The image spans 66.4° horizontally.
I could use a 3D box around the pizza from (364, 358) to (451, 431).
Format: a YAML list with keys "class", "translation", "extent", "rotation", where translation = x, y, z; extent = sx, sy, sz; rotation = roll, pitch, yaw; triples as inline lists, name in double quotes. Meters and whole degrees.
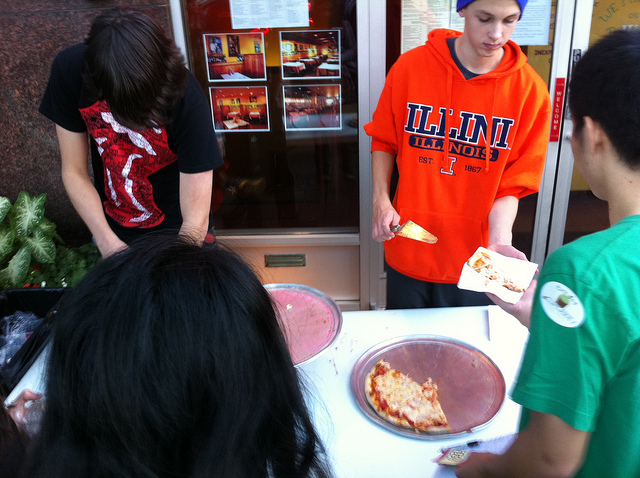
- class: "pizza"
  translation: [0.274, 0.514, 1.591]
  extent: [0.249, 0.028, 0.247]
  rotation: [0, 28, 2]

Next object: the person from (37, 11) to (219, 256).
- class: "person"
  translation: [-0.803, -0.404, 2.033]
  extent: [0.718, 0.977, 0.410]
  rotation: [6, 28, 13]

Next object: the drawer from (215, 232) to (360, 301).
- class: "drawer"
  translation: [-0.113, 0.213, 3.609]
  extent: [0.809, 0.534, 0.159]
  rotation: [0, 27, 1]
